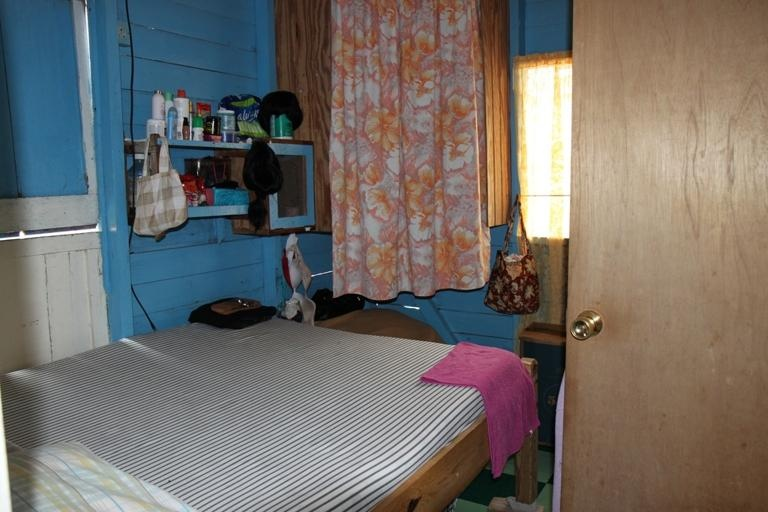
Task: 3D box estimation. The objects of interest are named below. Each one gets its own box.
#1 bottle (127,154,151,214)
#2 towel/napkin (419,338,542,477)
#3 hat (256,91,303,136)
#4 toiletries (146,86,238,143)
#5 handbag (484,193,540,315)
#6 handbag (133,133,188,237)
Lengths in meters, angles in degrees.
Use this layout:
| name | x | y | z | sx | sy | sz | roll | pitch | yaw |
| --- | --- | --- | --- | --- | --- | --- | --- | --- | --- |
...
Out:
| name | x | y | z | sx | sy | sz | roll | pitch | yaw |
| --- | --- | --- | --- | --- | --- | --- | --- | --- | --- |
| bottle | -1.258 | -0.383 | 3.101 | 0.178 | 0.257 | 0.062 | 1 | 2 | 6 |
| towel/napkin | 0.417 | 0.582 | 2.669 | 0.550 | 0.304 | 0.548 | 6 | 11 | 34 |
| hat | -0.579 | -0.831 | 3.445 | 0.133 | 0.247 | 0.292 | 4 | 12 | 32 |
| toiletries | -1.033 | -0.721 | 3.080 | 0.267 | 0.230 | 0.273 | 4 | 7 | 25 |
| handbag | 0.754 | -0.018 | 3.599 | 0.295 | 0.693 | 0.348 | -3 | 10 | -2 |
| handbag | -1.120 | -0.347 | 2.952 | 0.301 | 0.516 | 0.122 | -1 | 10 | 7 |
